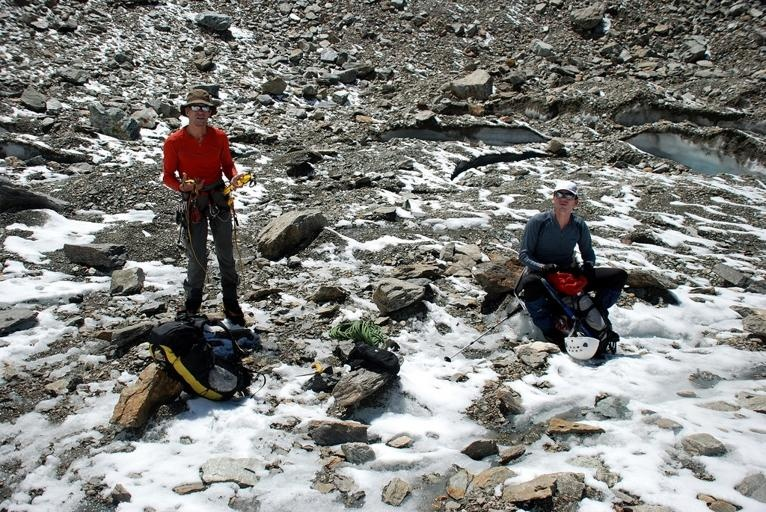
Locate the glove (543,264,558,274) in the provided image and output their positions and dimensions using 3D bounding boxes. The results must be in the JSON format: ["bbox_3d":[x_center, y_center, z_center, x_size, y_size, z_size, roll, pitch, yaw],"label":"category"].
[{"bbox_3d":[2.790,0.213,9.705,0.226,0.097,0.173,-2,12,2],"label":"glove"}]

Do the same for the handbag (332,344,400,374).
[{"bbox_3d":[-0.252,1.634,8.970,0.839,0.187,0.518,11,5,9],"label":"handbag"}]

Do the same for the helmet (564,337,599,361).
[{"bbox_3d":[3.166,1.485,9.246,0.578,0.247,0.480,7,-15,-24],"label":"helmet"}]
